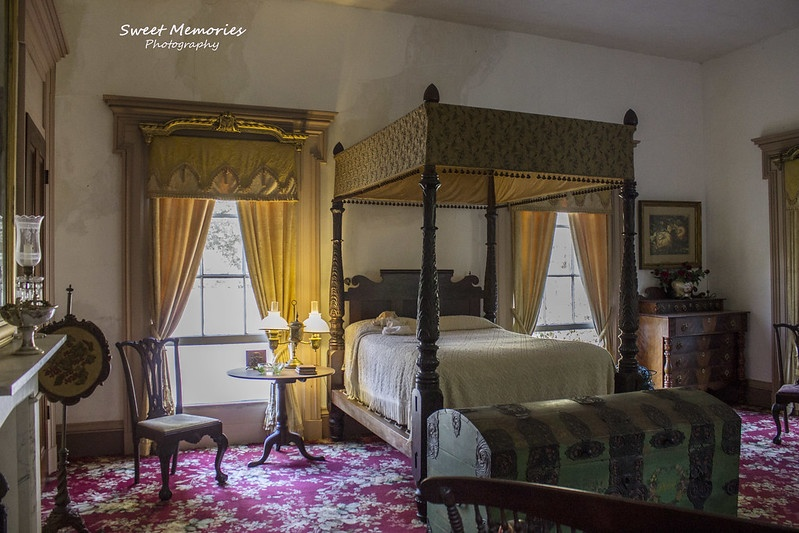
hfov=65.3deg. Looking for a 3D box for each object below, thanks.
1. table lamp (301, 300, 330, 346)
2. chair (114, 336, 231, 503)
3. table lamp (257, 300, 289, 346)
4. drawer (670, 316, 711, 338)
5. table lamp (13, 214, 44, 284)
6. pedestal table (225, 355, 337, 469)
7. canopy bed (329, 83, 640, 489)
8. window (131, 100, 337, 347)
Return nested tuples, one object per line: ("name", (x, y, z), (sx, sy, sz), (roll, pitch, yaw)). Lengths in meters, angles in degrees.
("table lamp", (-0.982, 0.691, 7.265), (0.381, 0.534, 0.377), (0, -10, -17))
("chair", (-2.327, 1.515, 6.474), (1.032, 1.497, 1.075), (1, -2, -23))
("table lamp", (-1.419, 0.684, 7.161), (0.317, 0.555, 0.419), (-1, 7, -3))
("drawer", (4.134, 0.829, 8.757), (0.730, 0.278, 0.047), (-3, 8, -22))
("table lamp", (-2.753, -0.146, 4.656), (0.183, 0.447, 0.347), (-5, 9, -30))
("pedestal table", (-1.335, 1.673, 6.988), (1.194, 1.048, 1.199), (12, -23, -39))
("canopy bed", (0.782, 0.174, 7.058), (3.064, 3.416, 2.981), (0, 1, -17))
("window", (-1.892, -0.514, 7.309), (2.410, 3.000, 0.353), (-2, -30, -10))
